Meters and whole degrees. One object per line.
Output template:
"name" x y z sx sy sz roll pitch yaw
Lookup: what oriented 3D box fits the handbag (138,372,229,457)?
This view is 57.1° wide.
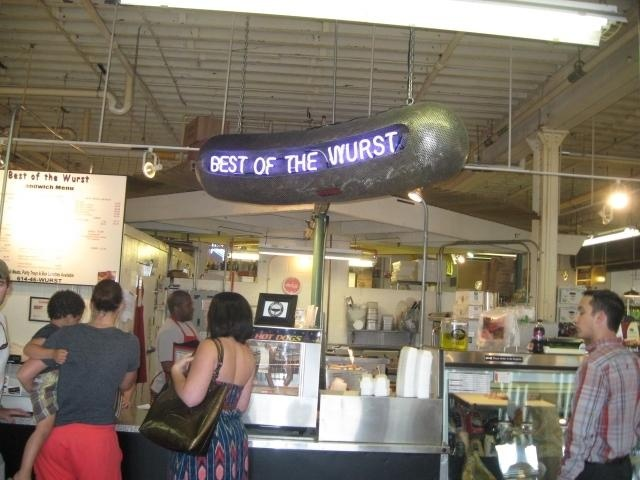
"handbag" -0.942 1.232 4.124 0.590 0.486 0.210 1 -6 22
